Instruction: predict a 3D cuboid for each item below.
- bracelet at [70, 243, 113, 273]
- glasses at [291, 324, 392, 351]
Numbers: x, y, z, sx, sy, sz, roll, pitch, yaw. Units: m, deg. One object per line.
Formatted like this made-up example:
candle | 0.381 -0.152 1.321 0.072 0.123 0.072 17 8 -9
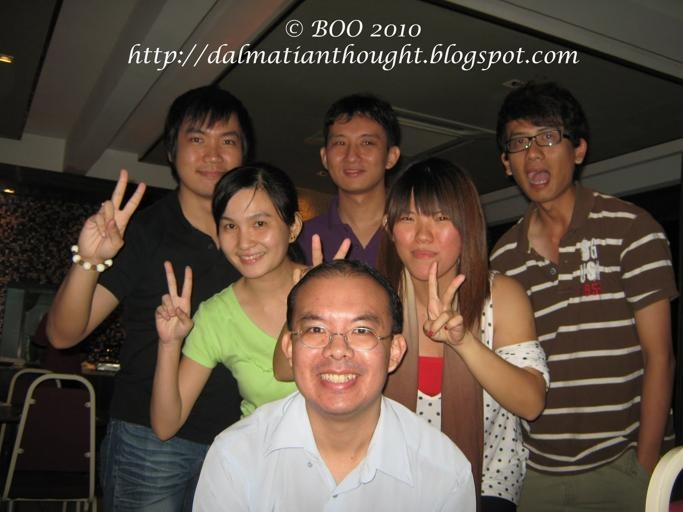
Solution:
bracelet | -1.127 0.016 2.437 0.171 0.126 0.083 6 -1 -11
glasses | -0.009 0.311 2.052 0.352 0.102 0.069 6 -1 1
